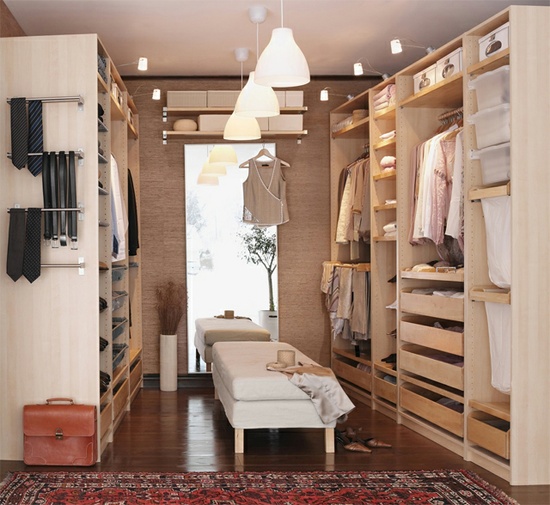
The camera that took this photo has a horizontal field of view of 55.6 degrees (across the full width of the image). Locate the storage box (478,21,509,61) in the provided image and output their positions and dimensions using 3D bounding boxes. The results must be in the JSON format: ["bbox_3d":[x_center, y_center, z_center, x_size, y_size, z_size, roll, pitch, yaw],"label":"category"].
[{"bbox_3d":[1.326,-1.520,3.296,0.302,0.184,0.168,-36,46,-28],"label":"storage box"}]

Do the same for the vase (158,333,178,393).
[{"bbox_3d":[-1.089,1.131,5.382,0.167,0.633,0.118,-2,0,-19],"label":"vase"}]

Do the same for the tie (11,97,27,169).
[{"bbox_3d":[-1.612,-0.872,3.271,0.028,0.472,0.117,17,20,25],"label":"tie"}]

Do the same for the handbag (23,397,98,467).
[{"bbox_3d":[-1.336,1.172,3.248,0.450,0.400,0.173,0,-2,-3],"label":"handbag"}]

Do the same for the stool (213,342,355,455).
[{"bbox_3d":[-0.007,1.063,3.874,0.743,0.759,1.122,-2,1,-13],"label":"stool"}]

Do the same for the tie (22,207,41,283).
[{"bbox_3d":[-1.520,-0.102,3.289,0.125,0.504,0.010,3,3,11],"label":"tie"}]

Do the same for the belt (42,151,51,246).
[{"bbox_3d":[-1.468,-0.464,3.364,0.054,0.675,0.172,-2,-13,-22],"label":"belt"}]

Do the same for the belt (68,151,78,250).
[{"bbox_3d":[-1.287,-0.438,3.334,0.063,0.675,0.085,-2,0,-21],"label":"belt"}]

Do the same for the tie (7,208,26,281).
[{"bbox_3d":[-1.636,-0.119,3.300,0.105,0.538,0.136,-2,0,-37],"label":"tie"}]

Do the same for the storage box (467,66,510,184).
[{"bbox_3d":[1.355,-0.941,3.282,0.192,0.672,0.399,-2,1,12],"label":"storage box"}]

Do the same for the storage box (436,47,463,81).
[{"bbox_3d":[1.311,-1.530,3.794,0.158,0.174,0.274,0,-1,-22],"label":"storage box"}]

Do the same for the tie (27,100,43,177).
[{"bbox_3d":[-1.523,-0.856,3.310,0.082,0.553,0.089,-2,0,-39],"label":"tie"}]

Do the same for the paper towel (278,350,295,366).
[{"bbox_3d":[0.088,0.739,3.712,0.106,0.111,0.115,1,-6,-3],"label":"paper towel"}]
